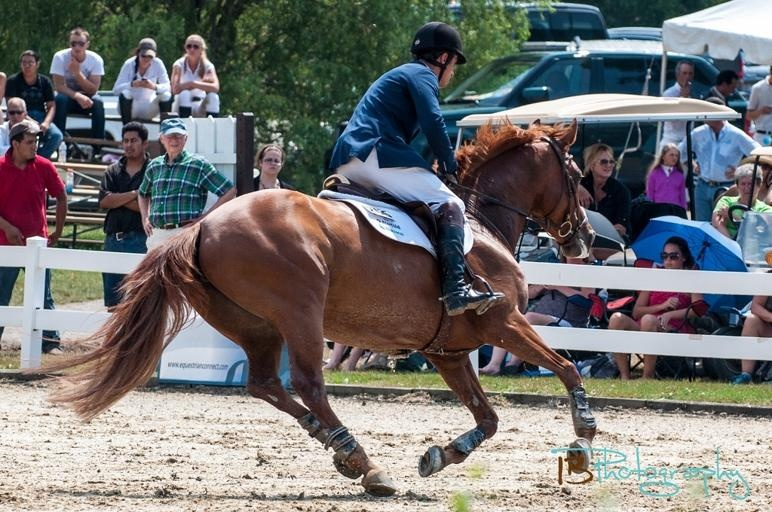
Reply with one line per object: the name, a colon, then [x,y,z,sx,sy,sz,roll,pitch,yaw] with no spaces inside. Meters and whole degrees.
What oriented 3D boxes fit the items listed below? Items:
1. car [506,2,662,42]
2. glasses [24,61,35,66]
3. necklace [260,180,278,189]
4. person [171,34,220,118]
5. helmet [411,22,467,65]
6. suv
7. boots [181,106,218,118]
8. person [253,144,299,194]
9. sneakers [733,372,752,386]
car: [4.763,-5.543,43.403,2.837,1.465,1.641,-4,5,-11]
glasses: [-6.335,-3.428,32.642,0.145,0.097,0.029,-1,15,-11]
necklace: [-1.845,-1.141,29.144,0.230,0.198,0.300,-1,7,-3]
person: [-3.440,-3.226,33.207,0.851,1.470,0.786,1,15,-7]
helmet: [0.741,-2.973,25.590,0.712,0.370,0.498,-2,4,-15]
suv: [3.858,-2.838,33.937,5.316,2.436,2.993,2,0,-7]
boots: [-3.383,-2.587,33.203,0.782,0.178,0.205,-7,17,-33]
person: [-1.675,-1.457,29.390,0.885,0.804,0.690,2,-12,-9]
sneakers: [5.546,1.901,28.623,0.299,0.125,0.145,-6,-8,28]
